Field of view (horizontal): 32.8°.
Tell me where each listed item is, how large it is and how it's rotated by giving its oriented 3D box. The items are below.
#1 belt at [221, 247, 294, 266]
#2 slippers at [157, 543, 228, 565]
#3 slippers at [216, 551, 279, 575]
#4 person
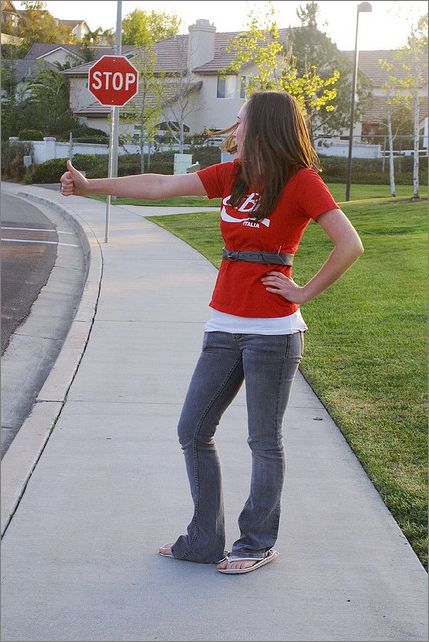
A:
[{"bbox_3d":[0.158,-0.228,2.621,0.254,0.063,0.143,2,12,1],"label":"belt"},{"bbox_3d":[-0.078,0.899,2.834,0.269,0.062,0.088,9,-9,-9],"label":"slippers"},{"bbox_3d":[0.112,0.905,2.758,0.204,0.051,0.078,3,-7,-34],"label":"slippers"},{"bbox_3d":[0.141,0.071,2.664,0.637,1.762,0.342,-3,15,-18],"label":"person"}]
